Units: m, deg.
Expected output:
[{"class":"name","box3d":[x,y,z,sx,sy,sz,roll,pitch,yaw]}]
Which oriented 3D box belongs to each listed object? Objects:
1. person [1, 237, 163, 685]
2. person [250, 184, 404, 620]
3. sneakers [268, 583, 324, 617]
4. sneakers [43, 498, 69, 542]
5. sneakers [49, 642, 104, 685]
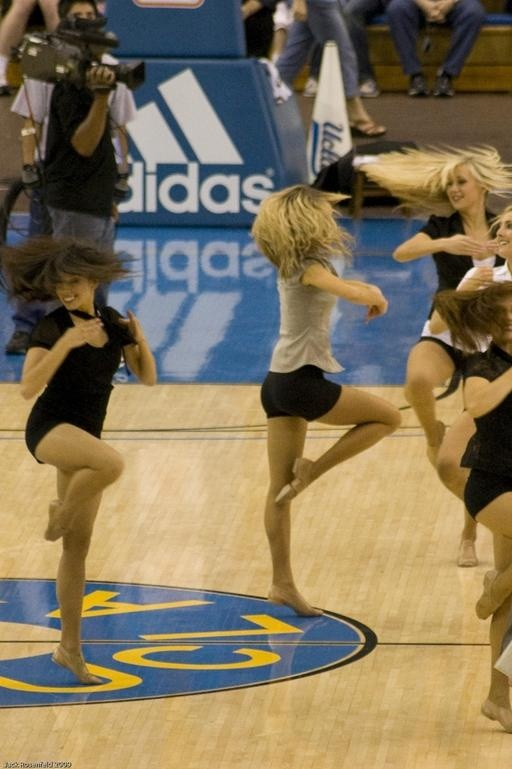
[{"class":"person","box3d":[-0.489,0.195,2.191,0.421,1.225,0.399,-2,7,-7]},{"class":"person","box3d":[0.244,0.046,2.632,0.474,1.449,0.379,-2,7,-1]},{"class":"sneakers","box3d":[0.126,0.731,2.657,0.220,0.096,0.070,16,-4,-2]},{"class":"sneakers","box3d":[-0.519,0.369,2.063,0.050,0.113,0.063,-7,19,-45]},{"class":"sneakers","box3d":[-0.497,0.754,2.139,0.120,0.125,0.167,-4,7,-24]}]
